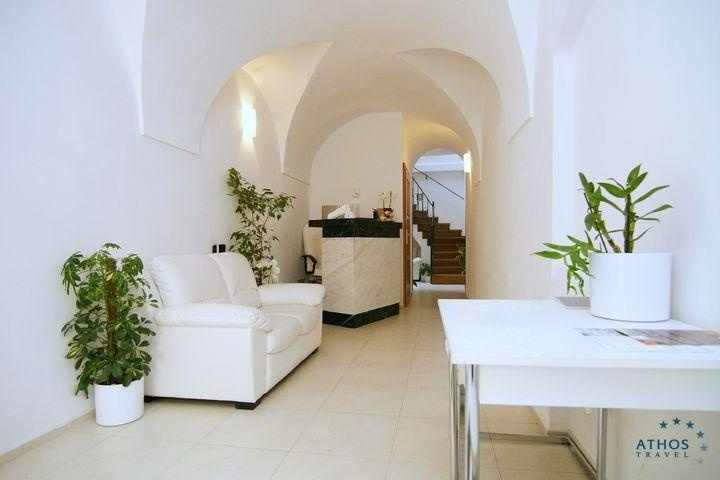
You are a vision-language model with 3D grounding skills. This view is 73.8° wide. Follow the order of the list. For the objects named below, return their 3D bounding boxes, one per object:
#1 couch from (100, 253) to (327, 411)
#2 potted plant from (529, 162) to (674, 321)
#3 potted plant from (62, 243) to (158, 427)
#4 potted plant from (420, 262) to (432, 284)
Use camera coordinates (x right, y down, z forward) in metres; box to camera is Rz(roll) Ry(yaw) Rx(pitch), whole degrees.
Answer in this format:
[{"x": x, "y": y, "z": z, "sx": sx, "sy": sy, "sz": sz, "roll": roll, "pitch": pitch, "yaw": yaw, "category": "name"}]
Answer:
[{"x": -1.069, "y": 0.727, "z": 4.629, "sx": 1.048, "sy": 1.232, "sz": 1.860, "roll": -2, "pitch": 2, "yaw": 16, "category": "couch"}, {"x": 1.451, "y": 0.020, "z": 2.908, "sx": 0.600, "sy": 0.899, "sz": 0.817, "roll": 13, "pitch": -10, "yaw": -25, "category": "potted plant"}, {"x": -1.903, "y": 0.692, "z": 3.676, "sx": 0.643, "sy": 1.330, "sz": 0.617, "roll": -3, "pitch": 9, "yaw": -12, "category": "potted plant"}, {"x": 1.589, "y": 0.814, "z": 12.128, "sx": 0.409, "sy": 0.487, "sz": 0.372, "roll": 1, "pitch": -4, "yaw": -25, "category": "potted plant"}]
